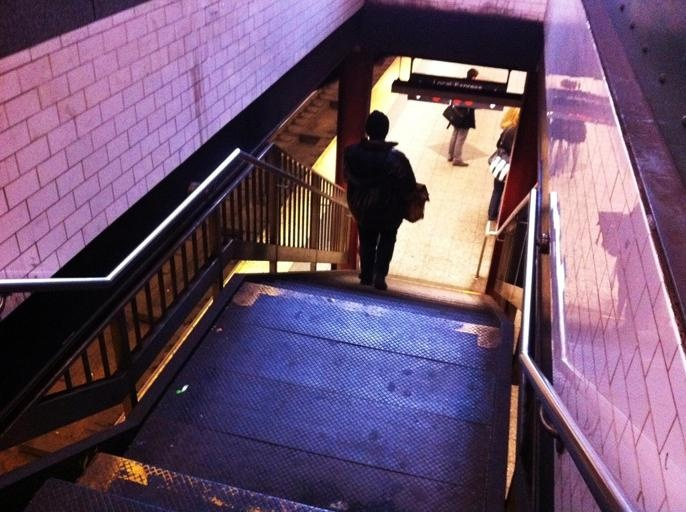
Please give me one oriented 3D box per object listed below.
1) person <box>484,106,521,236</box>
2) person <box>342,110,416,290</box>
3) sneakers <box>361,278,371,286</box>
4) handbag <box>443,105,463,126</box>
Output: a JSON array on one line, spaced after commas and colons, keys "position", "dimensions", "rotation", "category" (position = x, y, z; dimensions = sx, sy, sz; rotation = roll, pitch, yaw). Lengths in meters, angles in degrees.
[{"position": [2.708, -1.503, 8.908], "dimensions": [0.303, 2.108, 1.177], "rotation": [9, 17, 13], "category": "person"}, {"position": [0.307, -0.407, 4.713], "dimensions": [0.635, 1.812, 0.867], "rotation": [7, 17, 4], "category": "person"}, {"position": [0.243, 0.288, 5.508], "dimensions": [0.071, 0.079, 0.127], "rotation": [6, 0, 44], "category": "sneakers"}, {"position": [2.199, -2.823, 10.241], "dimensions": [0.332, 0.378, 0.256], "rotation": [10, 18, 9], "category": "handbag"}]
